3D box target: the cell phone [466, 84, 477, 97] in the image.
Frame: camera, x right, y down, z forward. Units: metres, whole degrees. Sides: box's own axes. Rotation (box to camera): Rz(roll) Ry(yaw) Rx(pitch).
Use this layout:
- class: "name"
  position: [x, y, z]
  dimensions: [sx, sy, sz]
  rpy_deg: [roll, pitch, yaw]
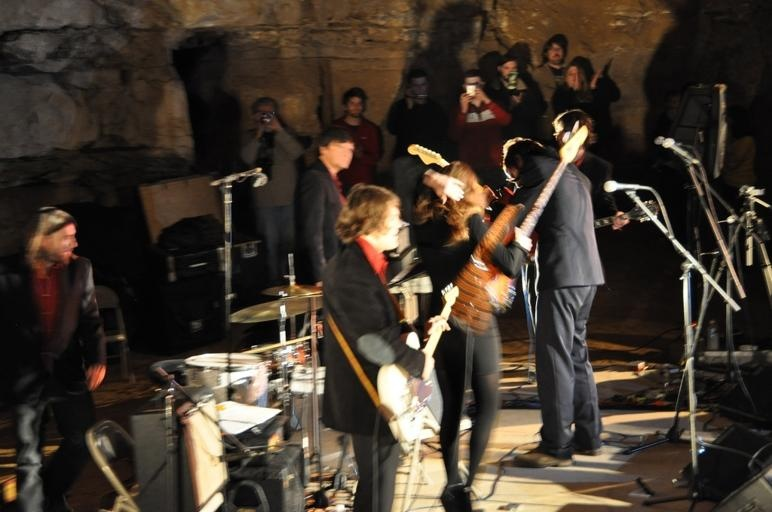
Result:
- class: "cell phone"
  position: [0.759, -1.480, 7.313]
  dimensions: [0.102, 0.089, 0.106]
  rpy_deg: [1, -3, -45]

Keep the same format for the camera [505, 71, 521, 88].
- class: "camera"
  position: [1.128, -1.563, 7.283]
  dimensions: [0.171, 0.191, 0.143]
  rpy_deg: [-1, 2, 5]

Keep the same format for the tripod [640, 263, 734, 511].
- class: "tripod"
  position: [2.194, 0.864, 6.220]
  dimensions: [0.415, 1.660, 2.036]
  rpy_deg: [0, 1, 19]

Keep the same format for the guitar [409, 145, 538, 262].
- class: "guitar"
  position: [0.464, -0.311, 5.418]
  dimensions: [0.529, 1.061, 0.192]
  rpy_deg: [-49, 16, -8]

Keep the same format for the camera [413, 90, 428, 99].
- class: "camera"
  position: [0.323, -1.434, 7.336]
  dimensions: [0.130, 0.050, 0.029]
  rpy_deg: [-1, 2, -24]
